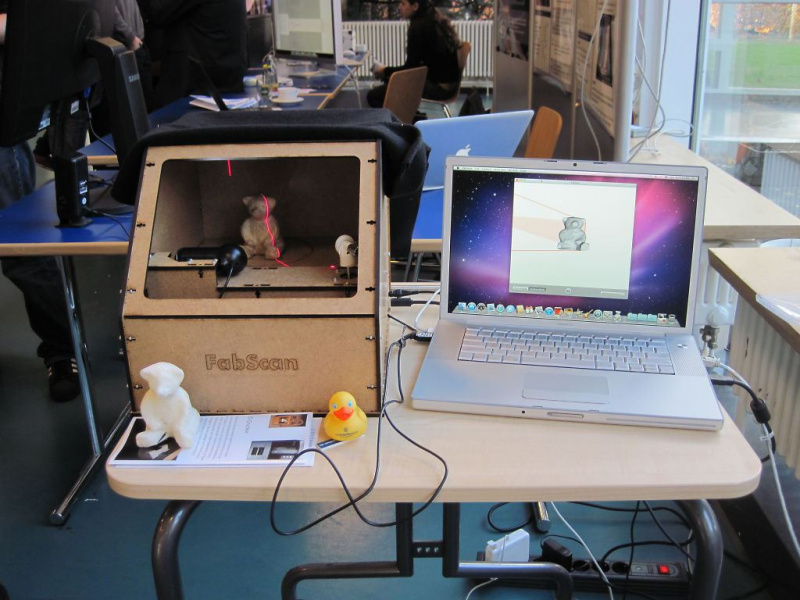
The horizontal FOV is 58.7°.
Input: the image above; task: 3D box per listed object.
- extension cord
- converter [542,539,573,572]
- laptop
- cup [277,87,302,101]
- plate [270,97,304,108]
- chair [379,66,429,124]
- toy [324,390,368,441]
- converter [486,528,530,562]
[{"bbox_3d":[0.507,0.770,2.005,0.614,0.090,0.138,4,27,2],"label":"extension cord"},{"bbox_3d":[0.444,0.722,2.005,0.028,0.082,0.088,-8,16,-26],"label":"converter"},{"bbox_3d":[0.373,0.009,1.639,0.674,0.463,0.563,4,32,7],"label":"laptop"},{"bbox_3d":[-0.558,-1.040,3.595,0.085,0.051,0.110,8,18,18],"label":"cup"},{"bbox_3d":[-0.553,-0.988,3.547,0.096,0.020,0.097,-13,30,-28],"label":"plate"},{"bbox_3d":[0.042,-1.120,3.977,0.176,0.343,0.571,3,24,7],"label":"chair"},{"bbox_3d":[-0.108,0.235,1.457,0.098,0.104,0.088,-3,8,-1],"label":"toy"},{"bbox_3d":[0.318,0.718,2.075,0.074,0.074,0.024,-16,12,-27],"label":"converter"}]
